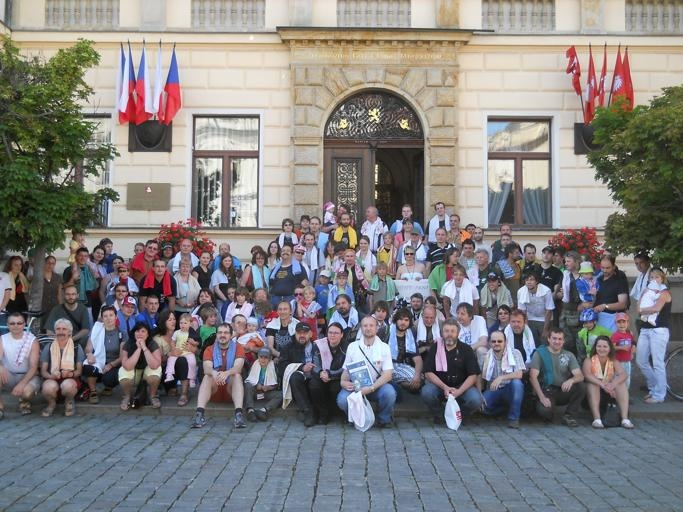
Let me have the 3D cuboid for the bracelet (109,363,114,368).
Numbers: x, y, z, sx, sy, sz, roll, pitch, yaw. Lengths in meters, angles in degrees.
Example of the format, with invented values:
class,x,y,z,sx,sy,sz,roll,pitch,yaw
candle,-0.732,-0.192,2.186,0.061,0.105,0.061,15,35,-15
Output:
class,x,y,z,sx,sy,sz,roll,pitch,yaw
bracelet,-4.013,1.866,19.120,0.052,0.078,0.074,5,37,-44

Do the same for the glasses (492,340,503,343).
class,x,y,z,sx,sy,sz,roll,pitch,yaw
glasses,2.583,1.416,18.529,0.144,0.058,0.022,0,0,0

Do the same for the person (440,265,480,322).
class,x,y,z,sx,sy,sz,roll,pitch,yaw
person,2.139,0.744,20.388,0.671,1.208,0.347,-1,25,8

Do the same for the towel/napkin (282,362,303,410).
class,x,y,z,sx,sy,sz,roll,pitch,yaw
towel/napkin,-0.857,2.174,18.704,0.315,0.760,0.256,0,0,-14

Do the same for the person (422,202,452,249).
class,x,y,z,sx,sy,sz,roll,pitch,yaw
person,1.984,-0.791,23.166,0.404,0.196,0.744,-9,39,11

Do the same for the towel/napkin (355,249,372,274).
class,x,y,z,sx,sy,sz,roll,pitch,yaw
towel/napkin,0.401,0.099,21.213,0.397,0.470,0.251,-1,-14,-5

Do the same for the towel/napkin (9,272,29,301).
class,x,y,z,sx,sy,sz,roll,pitch,yaw
towel/napkin,-6.104,0.565,20.854,0.168,0.436,0.402,-8,-24,37

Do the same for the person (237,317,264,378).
class,x,y,z,sx,sy,sz,roll,pitch,yaw
person,-1.650,1.503,19.215,0.515,1.028,0.377,10,15,-2

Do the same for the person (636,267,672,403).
class,x,y,z,sx,sy,sz,roll,pitch,yaw
person,5.460,1.363,19.507,0.565,2.324,0.690,0,0,17

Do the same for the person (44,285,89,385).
class,x,y,z,sx,sy,sz,roll,pitch,yaw
person,-4.801,1.182,19.523,0.814,1.293,0.924,3,11,-2

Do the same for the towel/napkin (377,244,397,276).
class,x,y,z,sx,sy,sz,roll,pitch,yaw
towel/napkin,0.860,0.075,21.607,0.480,0.655,0.373,2,-20,-5

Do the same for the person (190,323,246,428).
class,x,y,z,sx,sy,sz,roll,pitch,yaw
person,-2.030,1.934,18.430,0.746,1.626,0.893,0,0,-5

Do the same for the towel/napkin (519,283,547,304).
class,x,y,z,sx,sy,sz,roll,pitch,yaw
towel/napkin,3.450,0.670,20.232,0.376,0.387,0.187,22,-2,21

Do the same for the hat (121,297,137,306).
class,x,y,z,sx,sy,sz,roll,pitch,yaw
hat,-3.756,0.784,19.522,0.241,0.159,0.229,0,1,-22

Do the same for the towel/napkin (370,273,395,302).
class,x,y,z,sx,sy,sz,roll,pitch,yaw
towel/napkin,0.738,0.594,20.766,0.487,0.496,0.270,1,-5,-6

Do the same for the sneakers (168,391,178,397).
class,x,y,z,sx,sy,sz,roll,pitch,yaw
sneakers,-2.992,2.386,19.445,0.111,0.078,0.108,2,4,-3

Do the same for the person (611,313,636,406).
class,x,y,z,sx,sy,sz,roll,pitch,yaw
person,4.914,1.682,19.232,0.495,1.356,0.404,-6,7,-28

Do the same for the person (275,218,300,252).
class,x,y,z,sx,sy,sz,roll,pitch,yaw
person,-1.102,-0.424,22.458,0.610,1.026,0.390,0,-17,-3

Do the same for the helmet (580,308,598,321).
class,x,y,z,sx,sy,sz,roll,pitch,yaw
helmet,4.319,1.019,19.463,0.281,0.238,0.299,0,1,8

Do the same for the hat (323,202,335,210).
class,x,y,z,sx,sy,sz,roll,pitch,yaw
hat,-0.284,-1.072,23.479,0.165,0.119,0.194,-10,10,-6

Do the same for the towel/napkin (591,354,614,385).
class,x,y,z,sx,sy,sz,roll,pitch,yaw
towel/napkin,4.309,1.909,18.735,0.527,0.541,0.285,2,-9,1

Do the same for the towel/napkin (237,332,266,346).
class,x,y,z,sx,sy,sz,roll,pitch,yaw
towel/napkin,-1.567,1.399,19.089,0.325,0.151,0.253,4,34,-28

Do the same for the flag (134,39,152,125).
class,x,y,z,sx,sy,sz,roll,pitch,yaw
flag,-4.399,-3.815,24.499,0.378,1.795,0.326,0,0,-10

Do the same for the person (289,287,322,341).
class,x,y,z,sx,sy,sz,roll,pitch,yaw
person,-0.673,1.020,19.824,0.533,0.978,0.330,5,18,11

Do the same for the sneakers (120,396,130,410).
class,x,y,z,sx,sy,sz,roll,pitch,yaw
sneakers,-3.661,2.444,18.696,0.216,0.247,0.191,0,1,27

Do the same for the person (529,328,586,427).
class,x,y,z,sx,sy,sz,roll,pitch,yaw
person,3.596,1.979,18.580,0.915,1.606,0.521,0,0,9

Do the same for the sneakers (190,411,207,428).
class,x,y,z,sx,sy,sz,roll,pitch,yaw
sneakers,-2.343,2.633,18.003,0.197,0.224,0.356,0,1,7

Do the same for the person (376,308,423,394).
class,x,y,z,sx,sy,sz,roll,pitch,yaw
person,0.975,1.530,18.934,0.827,1.277,0.876,6,10,-14

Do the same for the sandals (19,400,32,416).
class,x,y,z,sx,sy,sz,roll,pitch,yaw
sandals,-5.313,2.517,18.527,0.186,0.241,0.535,2,-7,-20

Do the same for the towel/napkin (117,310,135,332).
class,x,y,z,sx,sy,sz,roll,pitch,yaw
towel/napkin,-3.831,1.132,19.496,0.311,0.413,0.223,11,-8,-36

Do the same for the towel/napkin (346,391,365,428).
class,x,y,z,sx,sy,sz,roll,pitch,yaw
towel/napkin,0.232,2.485,18.089,0.216,0.570,0.339,0,0,-24

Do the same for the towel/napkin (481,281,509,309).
class,x,y,z,sx,sy,sz,roll,pitch,yaw
towel/napkin,2.795,0.754,20.422,0.612,0.548,0.363,0,-5,6

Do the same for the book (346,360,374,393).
class,x,y,z,sx,sy,sz,roll,pitch,yaw
book,0.287,1.981,18.332,0.379,0.535,0.055,-18,-10,0

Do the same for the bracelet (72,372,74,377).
class,x,y,z,sx,sy,sz,roll,pitch,yaw
bracelet,-4.558,1.989,18.698,0.044,0.066,0.016,-4,-7,31

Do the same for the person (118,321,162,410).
class,x,y,z,sx,sy,sz,roll,pitch,yaw
person,-3.481,1.818,18.916,0.779,1.382,0.851,14,21,35

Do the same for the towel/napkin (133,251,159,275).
class,x,y,z,sx,sy,sz,roll,pitch,yaw
towel/napkin,-3.764,0.114,21.159,0.617,0.550,0.364,4,-5,-11

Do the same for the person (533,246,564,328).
class,x,y,z,sx,sy,sz,roll,pitch,yaw
person,3.960,0.535,20.995,0.514,1.588,0.574,-25,28,-33

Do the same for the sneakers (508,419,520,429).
class,x,y,z,sx,sy,sz,roll,pitch,yaw
sneakers,2.829,2.734,18.323,0.187,0.133,0.288,0,1,10

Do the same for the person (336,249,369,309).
class,x,y,z,sx,sy,sz,roll,pitch,yaw
person,0.173,0.488,20.896,0.626,1.325,0.393,-9,27,-4

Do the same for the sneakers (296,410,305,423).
class,x,y,z,sx,sy,sz,roll,pitch,yaw
sneakers,-0.698,2.651,18.524,0.105,0.142,0.431,0,1,-7

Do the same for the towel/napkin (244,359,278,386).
class,x,y,z,sx,sy,sz,roll,pitch,yaw
towel/napkin,-1.395,1.965,18.754,0.415,0.390,0.076,6,-10,-11

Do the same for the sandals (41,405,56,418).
class,x,y,z,sx,sy,sz,roll,pitch,yaw
sandals,-4.894,2.563,18.492,0.169,0.150,0.314,1,1,37

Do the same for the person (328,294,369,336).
class,x,y,z,sx,sy,sz,roll,pitch,yaw
person,0.069,1.033,19.379,0.793,1.037,0.594,-3,-6,12

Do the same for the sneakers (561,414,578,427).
class,x,y,z,sx,sy,sz,roll,pitch,yaw
sneakers,3.799,2.707,18.507,0.236,0.167,0.372,0,1,4

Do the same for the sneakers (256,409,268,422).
class,x,y,z,sx,sy,sz,roll,pitch,yaw
sneakers,-1.330,2.610,18.455,0.133,0.184,0.305,0,1,34

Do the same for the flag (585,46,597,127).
class,x,y,z,sx,sy,sz,roll,pitch,yaw
flag,5.480,-3.807,24.455,0.288,1.739,0.504,0,0,12

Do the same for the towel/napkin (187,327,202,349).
class,x,y,z,sx,sy,sz,roll,pitch,yaw
towel/napkin,-2.579,1.412,19.350,0.235,0.317,0.123,1,-21,-40

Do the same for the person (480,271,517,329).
class,x,y,z,sx,sy,sz,roll,pitch,yaw
person,2.760,0.831,20.266,0.696,0.981,0.644,-4,3,-31

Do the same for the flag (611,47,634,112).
class,x,y,z,sx,sy,sz,roll,pitch,yaw
flag,6.170,-3.933,24.413,0.477,1.443,0.872,0,0,19

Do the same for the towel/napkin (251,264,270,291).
class,x,y,z,sx,sy,sz,roll,pitch,yaw
towel/napkin,-1.573,0.368,21.261,0.396,0.456,0.347,0,1,-29

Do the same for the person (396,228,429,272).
class,x,y,z,sx,sy,sz,roll,pitch,yaw
person,1.469,-0.160,21.864,0.805,1.038,0.590,1,-6,1
